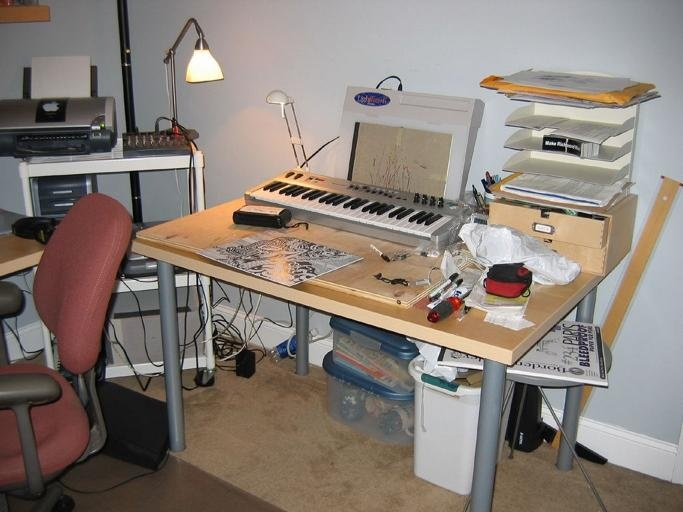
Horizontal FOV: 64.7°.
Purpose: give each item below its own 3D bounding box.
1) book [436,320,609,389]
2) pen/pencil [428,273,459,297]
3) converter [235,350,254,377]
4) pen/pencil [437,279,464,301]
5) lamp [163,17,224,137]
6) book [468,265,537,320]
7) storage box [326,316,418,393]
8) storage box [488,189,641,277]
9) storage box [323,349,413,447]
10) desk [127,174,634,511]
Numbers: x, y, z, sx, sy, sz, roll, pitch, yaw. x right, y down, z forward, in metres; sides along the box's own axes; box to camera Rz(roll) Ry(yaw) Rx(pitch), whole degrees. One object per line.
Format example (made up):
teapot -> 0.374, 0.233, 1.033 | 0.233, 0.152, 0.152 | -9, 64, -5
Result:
book -> 0.742, 0.349, 1.916 | 0.326, 0.015, 0.371 | 4, 19, 34
pen/pencil -> 0.341, 0.100, 1.792 | 0.101, 0.027, 0.023 | -36, 12, -27
converter -> -0.539, 0.604, 2.993 | 0.069, 0.069, 0.128 | 26, 35, -33
pen/pencil -> 0.356, 0.114, 1.765 | 0.018, 0.021, 0.088 | 34, 51, 27
lamp -> -0.801, -0.990, 2.932 | 0.314, 0.619, 0.720 | -2, 17, -17
book -> 0.514, 0.100, 1.748 | 0.181, 0.134, 0.185 | 10, 17, 22
storage box -> 0.173, 0.444, 2.548 | 0.455, 0.274, 0.328 | 14, 19, 20
storage box -> 0.882, -0.180, 2.013 | 0.368, 0.220, 0.361 | 15, 26, 35
storage box -> 0.142, 0.662, 2.663 | 0.444, 0.280, 0.297 | 3, 14, 29
desk -> 0.176, 0.136, 2.226 | 1.823, 1.193, 1.169 | 14, 25, 32
